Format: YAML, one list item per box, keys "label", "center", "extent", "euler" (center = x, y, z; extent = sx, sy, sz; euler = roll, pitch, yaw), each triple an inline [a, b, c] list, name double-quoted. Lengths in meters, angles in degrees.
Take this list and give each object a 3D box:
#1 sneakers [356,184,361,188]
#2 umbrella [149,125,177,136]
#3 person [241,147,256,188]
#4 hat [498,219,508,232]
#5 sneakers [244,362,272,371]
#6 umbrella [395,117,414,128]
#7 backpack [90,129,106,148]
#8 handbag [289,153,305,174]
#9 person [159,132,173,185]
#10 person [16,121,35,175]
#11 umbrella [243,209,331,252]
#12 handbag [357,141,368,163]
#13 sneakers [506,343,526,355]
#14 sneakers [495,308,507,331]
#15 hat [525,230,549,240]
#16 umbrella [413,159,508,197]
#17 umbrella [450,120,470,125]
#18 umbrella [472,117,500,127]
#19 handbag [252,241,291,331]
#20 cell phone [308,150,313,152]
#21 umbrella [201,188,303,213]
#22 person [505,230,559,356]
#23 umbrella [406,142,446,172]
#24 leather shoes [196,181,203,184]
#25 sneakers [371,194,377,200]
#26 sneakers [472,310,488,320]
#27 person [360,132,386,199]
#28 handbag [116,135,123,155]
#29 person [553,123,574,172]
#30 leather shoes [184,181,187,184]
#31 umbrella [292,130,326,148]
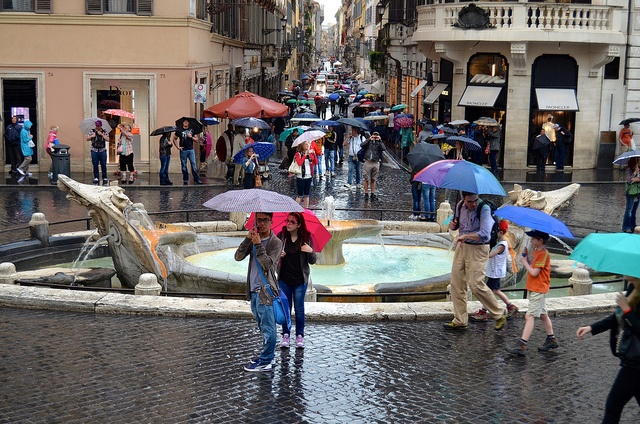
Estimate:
- label: "sneakers"
  center: [1.349, -0.962, 23.397]
  extent: [0.121, 0.117, 0.102]
  euler: [-3, 4, -25]
- label: "umbrella"
  center: [-5.240, -2.823, 22.668]
  extent: [0.764, 0.279, 0.579]
  euler: [0, 13, -10]
- label: "person"
  center: [-1.928, -1.290, 19.025]
  extent: [0.422, 1.185, 0.542]
  euler: [-4, 14, -25]
- label: "hat"
  center: [3.021, 0.218, 11.073]
  extent: [0.138, 0.124, 0.201]
  euler: [3, 51, 5]
- label: "sneakers"
  center: [-0.846, 2.137, 9.185]
  extent: [0.327, 0.148, 0.139]
  euler: [3, 1, -5]
- label: "umbrella"
  center: [3.355, -3.626, 26.629]
  extent: [0.700, 0.446, 1.008]
  euler: [3, 13, 4]
- label: "backpack"
  center: [-7.498, -2.521, 22.707]
  extent: [0.473, 0.643, 0.219]
  euler: [3, 12, 4]
- label: "handbag"
  center: [-0.684, -1.309, 18.583]
  extent: [0.379, 0.452, 0.385]
  euler: [6, 13, 17]
- label: "person"
  center: [-5.324, -1.942, 23.189]
  extent: [0.408, 1.846, 0.754]
  euler: [-1, 13, -13]
- label: "person"
  center: [-10.561, -2.371, 24.048]
  extent: [0.535, 1.904, 1.052]
  euler: [-3, 13, -21]
- label: "umbrella"
  center: [-0.181, 0.261, 10.680]
  extent: [0.925, 0.344, 0.898]
  euler: [10, -23, 3]
- label: "handbag"
  center: [1.388, -2.011, 22.424]
  extent: [0.367, 0.700, 0.499]
  euler: [13, 12, 11]
- label: "sneakers"
  center: [2.866, 2.009, 9.837]
  extent: [0.279, 0.205, 0.133]
  euler: [8, 5, 13]
- label: "sneakers"
  center: [2.877, 1.715, 10.677]
  extent: [0.163, 0.372, 0.128]
  euler: [-3, 25, -13]
- label: "hat"
  center: [3.248, 0.324, 9.958]
  extent: [0.250, 0.140, 0.157]
  euler: [8, 7, 7]
- label: "umbrella"
  center: [2.313, -0.603, 10.950]
  extent: [0.916, 0.320, 0.909]
  euler: [9, 9, -2]
- label: "umbrella"
  center: [5.703, -3.812, 27.785]
  extent: [0.609, 0.200, 0.616]
  euler: [5, 13, 34]
- label: "umbrella"
  center: [6.933, -3.812, 27.932]
  extent: [0.939, 0.411, 1.126]
  euler: [3, 13, 7]
- label: "handbag"
  center: [-0.621, 1.059, 9.256]
  extent: [0.568, 1.267, 0.521]
  euler: [-3, 13, -20]
- label: "cell phone"
  center: [-0.266, -1.757, 18.632]
  extent: [0.096, 0.046, 0.129]
  euler: [1, 7, 4]
- label: "umbrella"
  center: [-0.927, -0.150, 9.338]
  extent: [1.278, 0.342, 0.674]
  euler: [2, 13, 2]
- label: "person"
  center: [3.294, 1.119, 10.083]
  extent: [0.681, 1.827, 1.210]
  euler: [6, 13, 19]
- label: "umbrella"
  center: [2.839, -1.577, 18.121]
  extent: [0.823, 0.814, 0.704]
  euler: [-2, -9, 7]
- label: "leather shoes"
  center: [-4.240, -1.102, 23.663]
  extent: [0.230, 0.076, 0.162]
  euler: [0, 3, 5]
- label: "sneakers"
  center: [1.771, -0.538, 21.834]
  extent: [0.146, 0.151, 0.177]
  euler: [0, -5, -5]
- label: "sneakers"
  center: [2.681, 1.702, 11.100]
  extent: [0.319, 0.201, 0.107]
  euler: [1, 7, 0]
- label: "person"
  center: [1.664, -1.604, 21.713]
  extent: [0.712, 2.192, 1.115]
  euler: [3, 12, 4]
- label: "handbag"
  center: [-6.863, -2.308, 23.014]
  extent: [0.156, 0.603, 0.769]
  euler: [-3, 13, -20]
- label: "person"
  center: [10.571, -2.959, 29.390]
  extent: [0.604, 1.964, 1.175]
  euler: [9, 14, 29]
- label: "leather shoes"
  center: [-4.727, -1.106, 23.641]
  extent: [0.116, 0.120, 0.107]
  euler: [1, 10, -8]
- label: "umbrella"
  center: [-0.253, -1.981, 17.114]
  extent: [0.549, 0.181, 0.547]
  euler: [-23, 0, 5]
